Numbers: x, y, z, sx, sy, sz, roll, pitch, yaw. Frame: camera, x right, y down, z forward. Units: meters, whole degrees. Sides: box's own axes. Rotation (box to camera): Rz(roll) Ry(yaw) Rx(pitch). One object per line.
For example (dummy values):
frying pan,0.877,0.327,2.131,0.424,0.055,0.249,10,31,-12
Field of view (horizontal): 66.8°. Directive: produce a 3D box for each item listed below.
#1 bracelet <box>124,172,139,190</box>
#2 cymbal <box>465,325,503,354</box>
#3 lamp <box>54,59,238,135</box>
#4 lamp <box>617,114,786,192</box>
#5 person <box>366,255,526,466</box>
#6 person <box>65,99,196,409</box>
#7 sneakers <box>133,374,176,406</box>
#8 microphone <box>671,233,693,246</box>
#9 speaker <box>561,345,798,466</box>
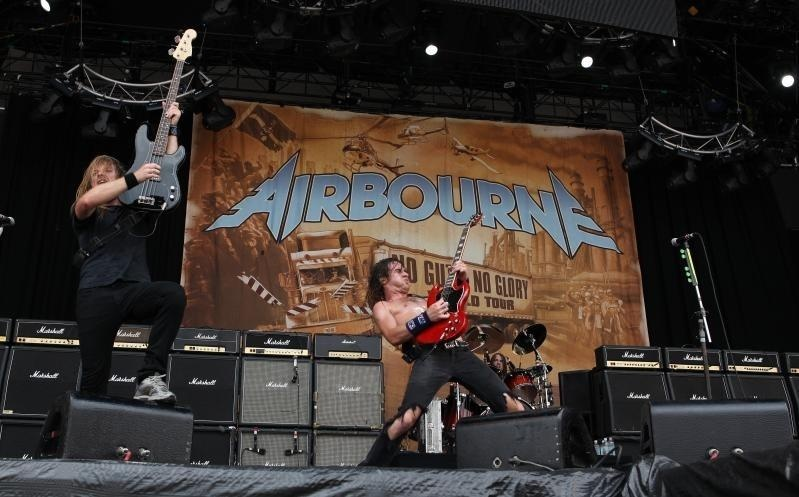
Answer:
bracelet,-1.997,-0.503,4.465,0.056,0.094,0.115,-21,7,-32
cymbal,1.086,1.101,7.896,0.484,0.220,0.470,4,-54,-1
lamp,-3.753,-2.213,8.849,1.811,1.327,0.486,8,-54,-29
lamp,5.118,-1.568,10.045,2.059,0.680,1.566,9,-10,-7
person,0.272,0.881,5.092,1.225,1.758,0.606,0,-18,5
person,-2.077,-0.087,4.601,1.032,2.428,0.705,-14,-24,38
sneakers,-1.669,0.959,4.131,0.147,0.169,0.370,16,-20,-41
microphone,3.830,-0.119,8.207,0.319,0.108,0.130,-18,-34,38
speaker,2.650,1.439,5.722,1.376,1.224,0.728,3,-17,-10
